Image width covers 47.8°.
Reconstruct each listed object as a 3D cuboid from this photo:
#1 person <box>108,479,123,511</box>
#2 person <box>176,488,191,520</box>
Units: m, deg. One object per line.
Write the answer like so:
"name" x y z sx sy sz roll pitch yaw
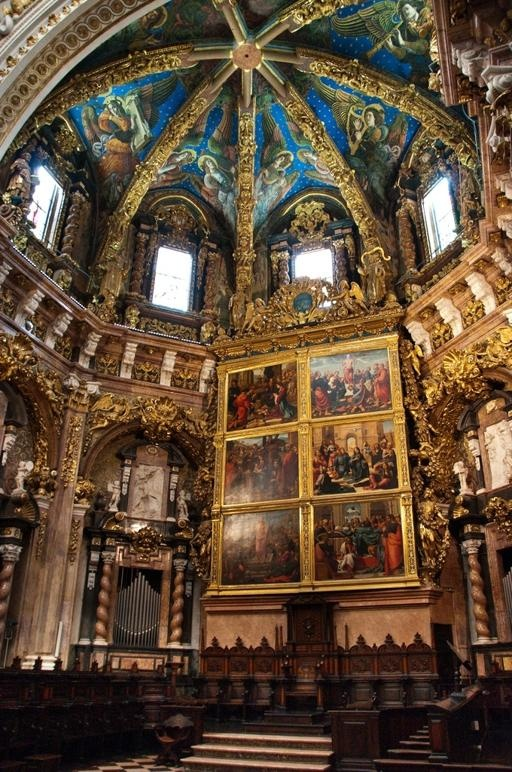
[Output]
"person" -3.101 2.385 12.609 0.254 0.725 0.168 19 -30 -32
"person" -1.687 2.725 13.264 0.256 0.797 0.430 -5 -26 13
